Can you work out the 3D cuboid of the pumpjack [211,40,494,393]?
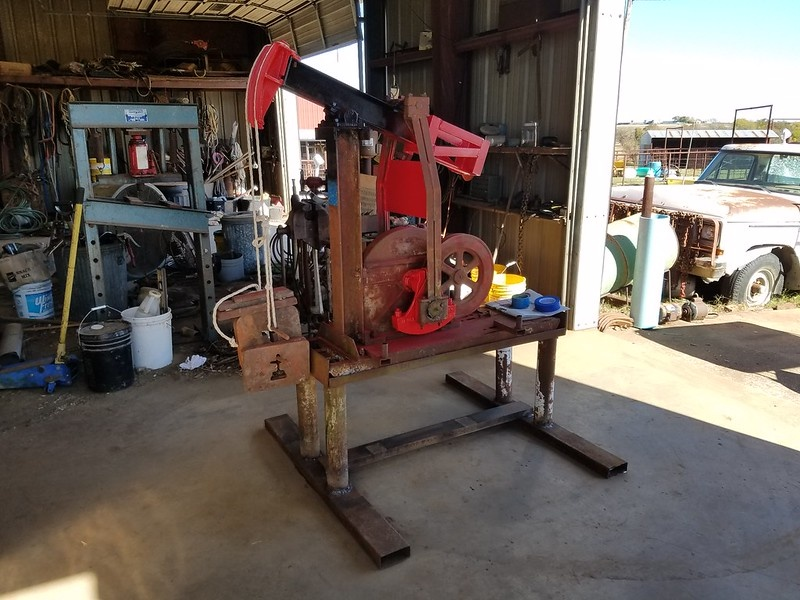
[{"bbox_3d":[-0.250,-0.531,4.012,2.008,2.040,0.887,-9,18,-26],"label":"pumpjack"}]

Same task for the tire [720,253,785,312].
[{"bbox_3d":[4.812,-0.262,7.827,0.748,0.779,0.306,-29,30,-11],"label":"tire"}]

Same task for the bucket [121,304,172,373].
[{"bbox_3d":[-2.579,0.394,6.121,0.611,0.619,0.576,1,12,0],"label":"bucket"}]

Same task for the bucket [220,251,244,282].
[{"bbox_3d":[-2.554,-0.515,8.886,0.367,0.401,0.395,2,13,0],"label":"bucket"}]

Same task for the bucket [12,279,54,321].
[{"bbox_3d":[-4.541,-0.032,7.183,0.448,0.503,0.445,6,18,-2],"label":"bucket"}]

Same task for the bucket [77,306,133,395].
[{"bbox_3d":[-2.868,0.524,5.799,0.560,1.062,0.541,6,15,-2],"label":"bucket"}]
